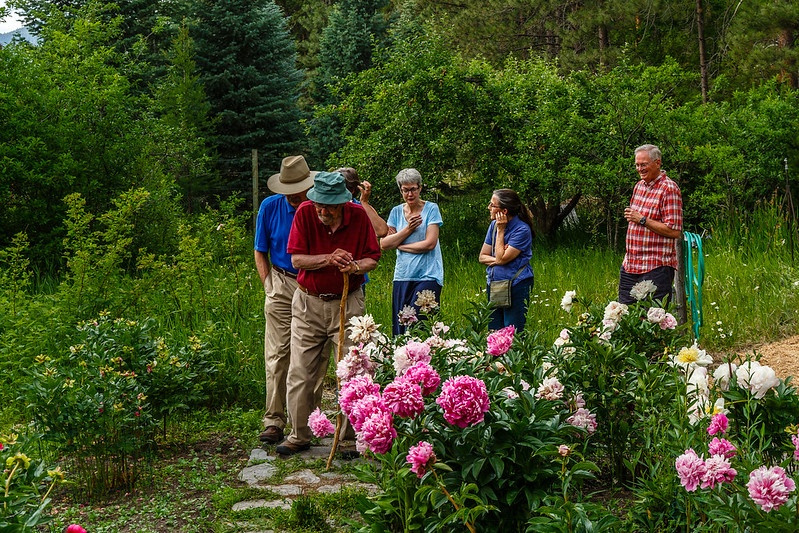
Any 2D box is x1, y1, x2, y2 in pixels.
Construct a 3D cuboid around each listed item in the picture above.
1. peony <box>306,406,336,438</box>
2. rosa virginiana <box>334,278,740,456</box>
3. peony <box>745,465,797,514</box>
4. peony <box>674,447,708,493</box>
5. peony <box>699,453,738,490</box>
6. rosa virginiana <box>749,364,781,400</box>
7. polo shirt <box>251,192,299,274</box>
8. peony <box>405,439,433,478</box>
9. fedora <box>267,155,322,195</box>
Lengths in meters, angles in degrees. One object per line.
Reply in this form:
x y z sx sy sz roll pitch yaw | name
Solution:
-0.755 1.507 7.535 0.207 0.352 0.445 -4 5 -9 | peony
1.256 1.208 7.074 3.456 1.909 1.467 -4 5 -9 | rosa virginiana
2.828 1.708 6.100 0.342 0.341 0.216 20 3 19 | peony
2.307 1.614 6.264 0.272 0.301 0.182 -5 -5 44 | peony
2.533 1.661 6.296 0.272 0.312 0.205 -2 5 11 | peony
3.172 1.009 6.890 0.270 0.293 0.127 -2 -4 -9 | rosa virginiana
-1.341 -0.419 9.451 0.727 0.941 0.332 -4 26 -24 | polo shirt
0.177 1.567 6.492 0.241 0.267 0.253 18 41 -2 | peony
-1.245 -1.144 9.325 0.628 0.316 0.729 8 28 28 | fedora
